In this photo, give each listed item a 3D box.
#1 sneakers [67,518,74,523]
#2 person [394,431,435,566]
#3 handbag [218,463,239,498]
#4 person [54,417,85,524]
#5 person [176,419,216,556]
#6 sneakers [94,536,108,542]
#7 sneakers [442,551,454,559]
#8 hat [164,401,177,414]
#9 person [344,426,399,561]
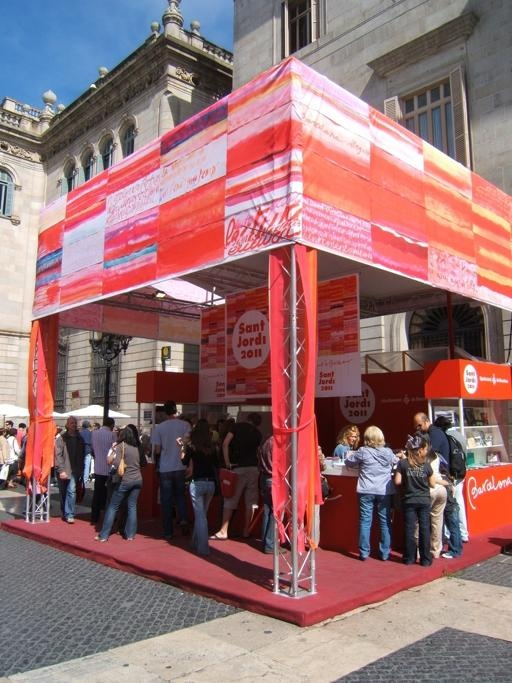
[{"bbox_3d":[-3.215,3.105,8.894,0.133,0.077,0.227,4,-12,-19],"label":"sneakers"},{"bbox_3d":[1.881,1.878,6.069,0.452,1.441,0.271,-3,-12,15],"label":"person"},{"bbox_3d":[-0.377,1.875,6.755,0.216,0.380,0.428,1,-11,-4],"label":"handbag"},{"bbox_3d":[-3.303,2.253,9.025,0.474,1.804,0.763,4,-12,-19],"label":"person"},{"bbox_3d":[-0.770,1.930,6.969,0.475,1.658,1.071,1,-11,-8],"label":"person"},{"bbox_3d":[-2.200,2.786,7.295,0.193,0.084,0.072,4,-12,34],"label":"sneakers"},{"bbox_3d":[2.453,2.734,6.569,0.058,0.070,0.163,4,-9,1],"label":"sneakers"},{"bbox_3d":[-1.342,1.032,7.979,0.164,0.213,0.220,1,-17,-14],"label":"hat"},{"bbox_3d":[1.465,1.886,6.437,0.627,1.607,0.499,-1,-11,5],"label":"person"}]
